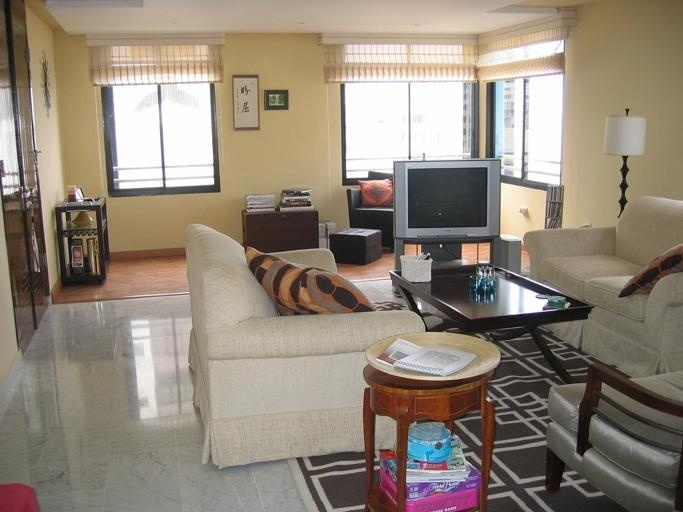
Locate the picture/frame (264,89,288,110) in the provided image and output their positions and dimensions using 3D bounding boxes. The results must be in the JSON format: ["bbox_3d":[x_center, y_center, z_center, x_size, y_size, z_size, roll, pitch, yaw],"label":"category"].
[{"bbox_3d":[-0.971,-2.292,7.737,0.287,0.249,0.031,-2,16,-13],"label":"picture/frame"}]

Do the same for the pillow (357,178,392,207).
[{"bbox_3d":[0.496,-0.923,7.884,0.408,0.444,0.215,-1,-3,2],"label":"pillow"}]

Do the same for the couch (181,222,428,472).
[{"bbox_3d":[-0.336,0.371,3.535,1.266,1.130,1.776,-2,12,-16],"label":"couch"}]

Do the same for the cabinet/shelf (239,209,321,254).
[{"bbox_3d":[-0.813,-0.341,7.140,0.632,0.601,0.227,-2,8,-13],"label":"cabinet/shelf"}]

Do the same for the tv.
[{"bbox_3d":[1.077,-0.594,5.652,1.330,0.979,0.750,0,16,0],"label":"tv"}]

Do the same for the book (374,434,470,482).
[{"bbox_3d":[0.361,0.855,2.172,0.224,0.056,0.226,0,8,-4],"label":"book"}]

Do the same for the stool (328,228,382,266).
[{"bbox_3d":[0.179,-0.143,7.275,0.469,0.419,0.641,6,13,30],"label":"stool"}]

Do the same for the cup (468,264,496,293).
[{"bbox_3d":[1.027,0.168,3.937,0.181,0.192,0.197,1,4,0],"label":"cup"}]

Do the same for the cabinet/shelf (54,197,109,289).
[{"bbox_3d":[-3.122,-0.137,6.341,0.400,0.818,0.917,-3,18,-14],"label":"cabinet/shelf"}]

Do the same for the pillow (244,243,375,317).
[{"bbox_3d":[-0.202,0.143,2.966,0.495,0.217,0.709,14,3,37],"label":"pillow"}]
